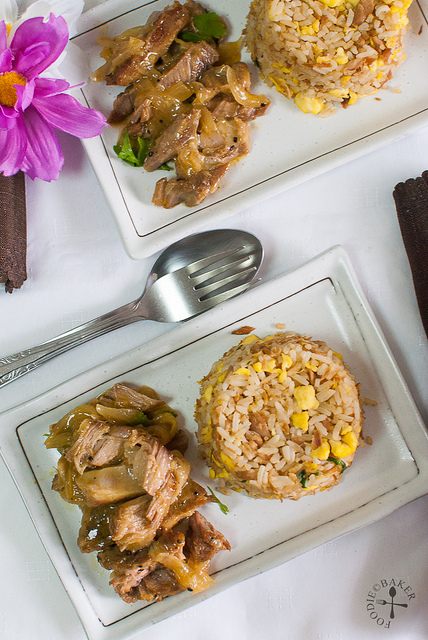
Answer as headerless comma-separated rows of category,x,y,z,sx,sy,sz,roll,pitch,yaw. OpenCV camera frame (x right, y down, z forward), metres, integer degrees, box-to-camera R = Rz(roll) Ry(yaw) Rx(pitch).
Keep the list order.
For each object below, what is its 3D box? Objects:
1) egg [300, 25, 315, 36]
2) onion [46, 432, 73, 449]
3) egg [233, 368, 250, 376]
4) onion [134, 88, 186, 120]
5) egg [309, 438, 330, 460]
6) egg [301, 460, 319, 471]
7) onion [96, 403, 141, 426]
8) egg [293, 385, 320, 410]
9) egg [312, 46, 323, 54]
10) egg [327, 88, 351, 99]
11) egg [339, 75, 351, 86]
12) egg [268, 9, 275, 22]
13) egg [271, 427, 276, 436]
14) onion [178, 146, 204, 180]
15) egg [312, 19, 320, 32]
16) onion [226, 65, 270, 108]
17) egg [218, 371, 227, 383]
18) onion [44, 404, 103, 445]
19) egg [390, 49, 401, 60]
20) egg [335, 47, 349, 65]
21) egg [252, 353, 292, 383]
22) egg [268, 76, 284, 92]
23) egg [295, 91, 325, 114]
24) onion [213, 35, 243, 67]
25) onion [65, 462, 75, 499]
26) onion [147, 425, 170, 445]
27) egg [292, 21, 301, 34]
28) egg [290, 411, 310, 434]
egg,0.265,-0.818,1.703,0.039,0.022,0.020,-5,44,9
onion,-0.464,0.358,1.813,0.096,0.040,0.038,-5,44,8
egg,0.082,0.149,1.742,0.046,0.022,0.016,-7,44,6
onion,-0.164,-0.651,1.817,0.142,0.088,0.041,3,47,17
egg,0.303,0.360,1.705,0.050,0.049,0.069,4,45,19
egg,0.270,0.408,1.698,0.045,0.029,0.019,12,50,25
onion,-0.283,0.277,1.782,0.120,0.069,0.044,-8,44,5
egg,0.263,0.221,1.731,0.067,0.074,0.062,-23,44,-9
egg,0.298,-0.767,1.716,0.029,0.020,0.009,-7,45,7
egg,0.381,-0.677,1.801,0.031,0.033,0.009,-12,73,53
egg,0.386,-0.700,1.762,0.031,0.035,0.012,4,48,19
egg,0.163,-0.860,1.701,0.008,0.028,0.023,-31,45,-14
egg,0.173,0.320,1.727,0.014,0.019,0.013,-9,44,6
onion,-0.070,-0.474,1.803,0.070,0.100,0.031,-12,44,3
egg,0.292,-0.831,1.703,0.027,0.030,0.014,-18,44,-4
onion,0.100,-0.703,1.820,0.114,0.120,0.088,-17,43,-2
egg,0.026,0.167,1.786,0.028,0.017,0.044,-7,41,7
onion,-0.423,0.331,1.857,0.167,0.028,0.092,-35,41,6
egg,0.542,-0.786,1.781,0.009,0.026,0.053,20,51,31
egg,0.367,-0.751,1.717,0.031,0.035,0.010,-16,17,-8
egg,0.180,0.143,1.748,0.114,0.058,0.062,-23,43,-11
egg,0.200,-0.721,1.855,0.019,0.075,0.018,-3,78,17
egg,0.294,-0.660,1.836,0.088,0.073,0.033,-3,46,12
onion,0.039,-0.842,1.885,0.141,0.053,0.056,-38,48,-27
onion,-0.423,0.472,1.759,0.021,0.121,0.019,4,10,10
onion,-0.162,0.343,1.805,0.023,0.065,0.048,-32,29,41
egg,0.237,-0.825,1.708,0.010,0.039,0.010,-19,14,-3
egg,0.252,0.288,1.721,0.055,0.065,0.046,-14,43,1
